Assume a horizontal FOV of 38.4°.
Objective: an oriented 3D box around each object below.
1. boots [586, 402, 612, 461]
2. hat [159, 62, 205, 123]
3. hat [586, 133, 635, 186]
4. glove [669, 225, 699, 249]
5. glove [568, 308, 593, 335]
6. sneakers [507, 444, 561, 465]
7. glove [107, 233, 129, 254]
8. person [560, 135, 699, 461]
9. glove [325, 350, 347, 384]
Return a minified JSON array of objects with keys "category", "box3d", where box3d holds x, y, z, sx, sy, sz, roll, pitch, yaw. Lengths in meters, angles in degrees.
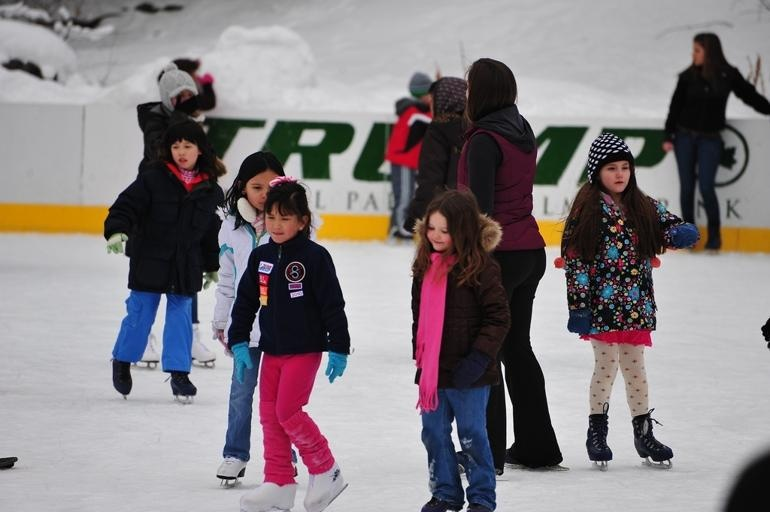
[{"category":"boots","box3d":[1.358,1.152,6.975,0.145,0.333,0.431,3,2,4]},{"category":"hat","box3d":[-1.659,-1.362,8.888,0.318,0.432,0.531,3,3,-11]},{"category":"hat","box3d":[1.435,-0.625,7.062,0.295,0.306,0.315,-9,7,-30]},{"category":"glove","box3d":[1.894,-0.127,6.948,0.161,0.120,0.209,5,3,21]},{"category":"glove","box3d":[1.213,0.411,6.835,0.129,0.164,0.065,6,5,4]},{"category":"sneakers","box3d":[0.956,1.248,6.942,0.334,0.153,0.124,-3,0,21]},{"category":"glove","box3d":[-1.828,-0.091,7.573,0.135,0.135,0.059,-1,-6,42]},{"category":"person","box3d":[1.482,0.273,6.941,0.820,1.509,0.345,4,2,7]},{"category":"glove","box3d":[-0.275,0.642,6.402,0.140,0.174,0.070,4,0,3]}]
